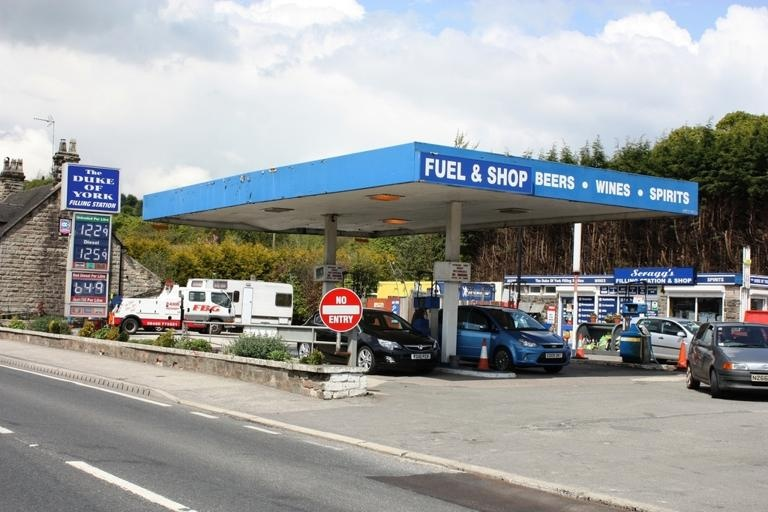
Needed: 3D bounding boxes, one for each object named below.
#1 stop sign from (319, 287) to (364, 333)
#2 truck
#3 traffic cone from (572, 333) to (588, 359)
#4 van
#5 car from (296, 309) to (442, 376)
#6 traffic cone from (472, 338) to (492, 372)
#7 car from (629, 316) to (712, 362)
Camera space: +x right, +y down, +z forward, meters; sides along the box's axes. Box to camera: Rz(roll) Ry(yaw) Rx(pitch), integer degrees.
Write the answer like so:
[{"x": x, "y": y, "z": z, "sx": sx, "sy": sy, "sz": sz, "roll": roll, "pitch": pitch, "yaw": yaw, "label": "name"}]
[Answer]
[{"x": -1.126, "y": 1.446, "z": 21.298, "sx": 1.345, "sy": 1.392, "sz": 0.218, "roll": 2, "pitch": -3, "yaw": -14, "label": "stop sign"}, {"x": -11.035, "y": 2.757, "z": 43.327, "sx": 6.221, "sy": 2.710, "sz": 2.513, "roll": 2, "pitch": -1, "yaw": -16, "label": "truck"}, {"x": 8.448, "y": 3.876, "z": 35.552, "sx": 0.848, "sy": 1.025, "sz": 0.849, "roll": 2, "pitch": -8, "yaw": -21, "label": "traffic cone"}, {"x": 4.034, "y": 2.576, "z": 25.844, "sx": 2.037, "sy": 1.688, "sz": 3.655, "roll": 5, "pitch": -9, "yaw": -40, "label": "van"}, {"x": -0.634, "y": 2.631, "z": 24.980, "sx": 1.854, "sy": 1.380, "sz": 3.918, "roll": 5, "pitch": -8, "yaw": -40, "label": "car"}, {"x": 2.994, "y": 3.042, "z": 25.249, "sx": 0.731, "sy": 1.015, "sz": 0.744, "roll": 2, "pitch": -6, "yaw": -14, "label": "traffic cone"}, {"x": 9.872, "y": 2.877, "z": 29.064, "sx": 1.253, "sy": 1.044, "sz": 2.099, "roll": 4, "pitch": -10, "yaw": -40, "label": "car"}]
